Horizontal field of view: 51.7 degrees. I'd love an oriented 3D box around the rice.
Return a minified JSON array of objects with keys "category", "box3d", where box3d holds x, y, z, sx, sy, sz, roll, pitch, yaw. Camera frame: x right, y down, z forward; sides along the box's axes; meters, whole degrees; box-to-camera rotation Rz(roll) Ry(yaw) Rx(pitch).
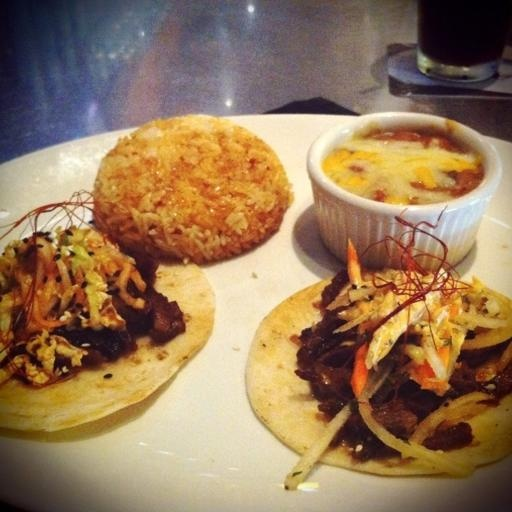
[{"category":"rice","box3d":[-0.356,-0.435,3.279,1.401,0.820,0.933,-11,21,-30]}]
